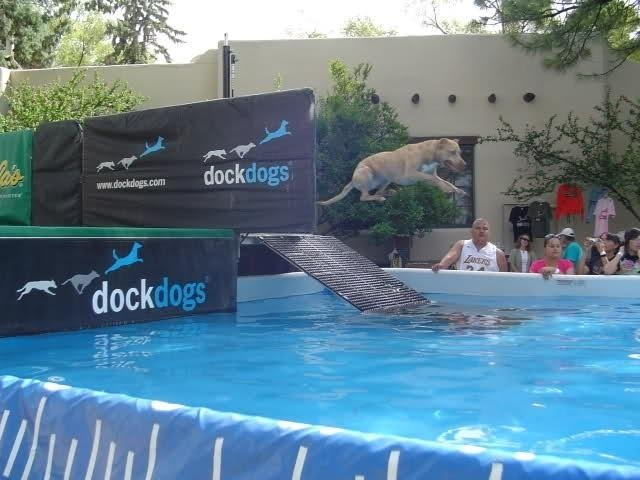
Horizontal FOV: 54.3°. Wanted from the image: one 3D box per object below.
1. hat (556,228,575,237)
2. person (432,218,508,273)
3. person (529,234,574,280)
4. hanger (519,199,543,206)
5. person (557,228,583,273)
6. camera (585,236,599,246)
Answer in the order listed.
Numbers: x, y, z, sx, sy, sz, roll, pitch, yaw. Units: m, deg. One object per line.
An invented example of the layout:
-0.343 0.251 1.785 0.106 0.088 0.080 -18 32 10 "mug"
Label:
4.245 -0.140 10.741 0.283 0.133 0.323 9 -5 -38 "hat"
2.080 0.073 8.480 0.913 0.724 0.747 1 3 26 "person"
3.046 0.202 8.166 0.539 0.547 0.807 1 3 20 "person"
5.059 -0.912 14.880 0.517 0.158 0.513 0 3 10 "hanger"
3.739 0.150 9.352 0.231 0.333 0.711 -2 26 17 "person"
3.848 0.008 8.814 0.186 0.112 0.275 2 1 1 "camera"
